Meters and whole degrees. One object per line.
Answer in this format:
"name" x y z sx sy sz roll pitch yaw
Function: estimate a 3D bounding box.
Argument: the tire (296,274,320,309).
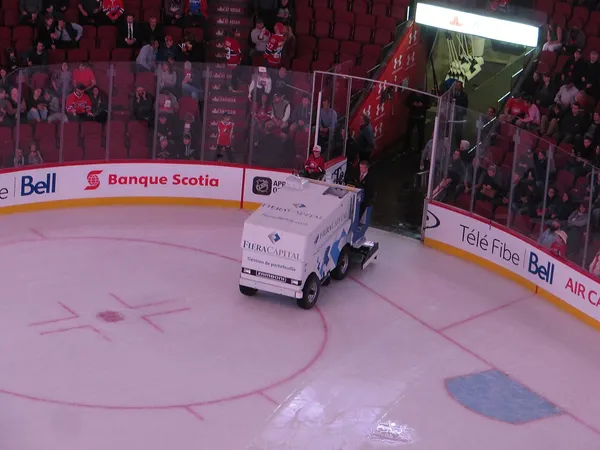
"tire" 0.179 1.285 14.842 0.191 0.757 0.637 17 24 33

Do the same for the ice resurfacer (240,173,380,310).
"ice resurfacer" 0.190 0.210 15.782 2.229 1.976 3.192 12 24 23

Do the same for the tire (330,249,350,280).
"tire" 0.820 0.787 15.741 0.195 0.619 0.615 7 -2 17
